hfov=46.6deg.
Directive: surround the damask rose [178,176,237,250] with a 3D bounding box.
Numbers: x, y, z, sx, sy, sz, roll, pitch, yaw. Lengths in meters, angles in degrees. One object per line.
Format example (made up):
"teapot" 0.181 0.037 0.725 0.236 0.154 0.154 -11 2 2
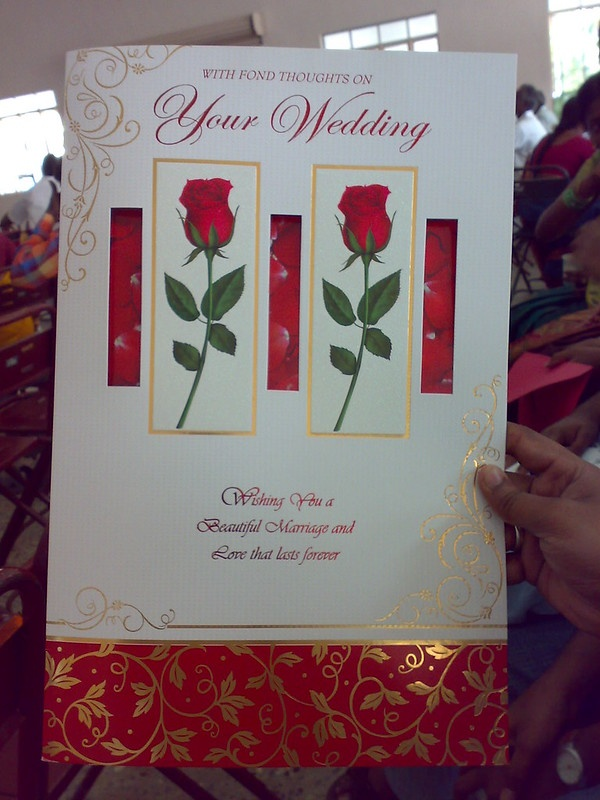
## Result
"damask rose" -0.181 -0.375 1.431 0.106 0.134 0.116 -17 25 -24
